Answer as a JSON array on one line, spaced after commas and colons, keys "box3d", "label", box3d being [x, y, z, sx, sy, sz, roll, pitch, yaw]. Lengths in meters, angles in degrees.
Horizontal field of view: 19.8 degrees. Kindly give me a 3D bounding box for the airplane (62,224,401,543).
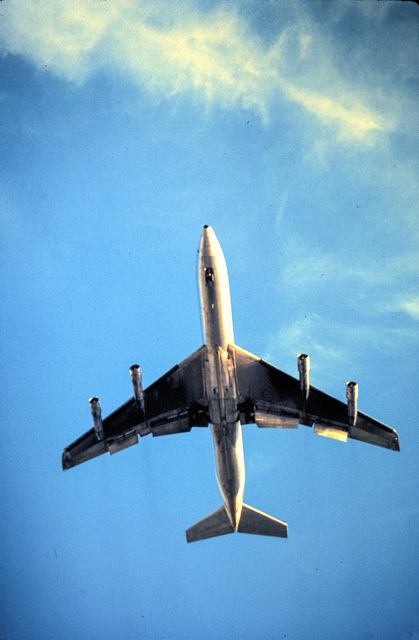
[{"box3d": [0.671, 3.021, 37.881, 11.106, 3.135, 13.585, -4, -45, 2], "label": "airplane"}]
